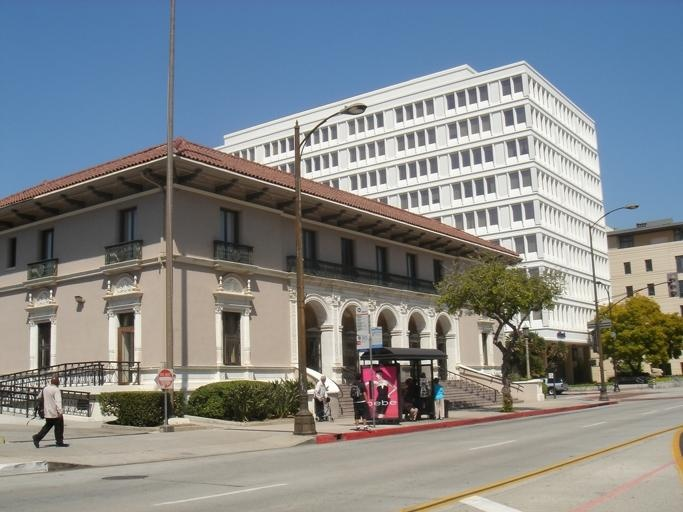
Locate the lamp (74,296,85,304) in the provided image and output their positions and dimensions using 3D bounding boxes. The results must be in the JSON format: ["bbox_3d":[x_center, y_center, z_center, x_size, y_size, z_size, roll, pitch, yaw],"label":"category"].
[{"bbox_3d":[-12.634,2.162,32.840,0.436,0.315,0.467,8,-17,-29],"label":"lamp"}]

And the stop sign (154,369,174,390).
[{"bbox_3d":[-6.437,4.497,24.871,0.520,0.784,0.831,-2,-13,1],"label":"stop sign"}]

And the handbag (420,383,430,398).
[{"bbox_3d":[3.920,6.290,31.732,0.493,0.669,0.725,-5,-13,12],"label":"handbag"}]
